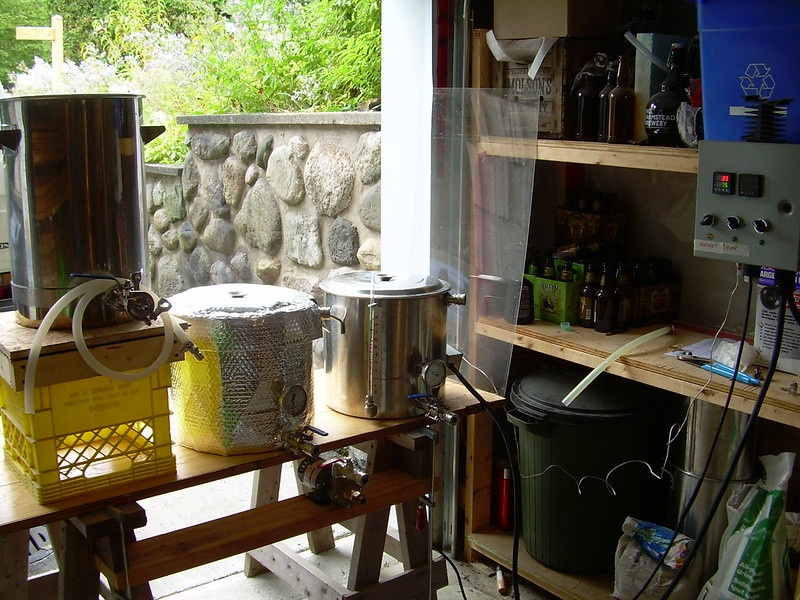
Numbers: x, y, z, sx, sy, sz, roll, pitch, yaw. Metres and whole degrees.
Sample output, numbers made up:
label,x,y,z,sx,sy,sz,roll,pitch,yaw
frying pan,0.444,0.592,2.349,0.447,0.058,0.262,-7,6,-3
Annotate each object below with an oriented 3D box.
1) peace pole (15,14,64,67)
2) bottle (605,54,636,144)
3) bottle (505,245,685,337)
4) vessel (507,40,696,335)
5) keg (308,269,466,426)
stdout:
label,x,y,z,sx,sy,sz,roll,pitch,yaw
peace pole,-2.988,-2.041,5.300,0.373,0.684,0.113,-5,-8,-15
bottle,0.728,-0.649,2.049,0.091,0.274,0.143,0,14,2
bottle,0.782,-0.132,2.387,0.396,0.272,0.408,3,14,-1
vessel,0.746,-0.384,2.322,0.692,0.961,0.655,10,18,37
keg,-0.016,0.119,1.859,0.401,0.371,0.334,8,15,20
